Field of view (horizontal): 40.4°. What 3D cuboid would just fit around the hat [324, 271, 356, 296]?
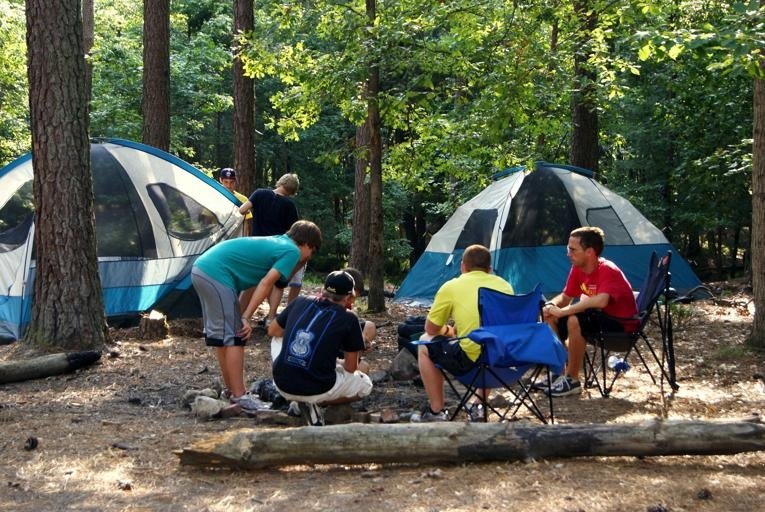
[{"bbox_3d":[-0.556,0.355,13.490,0.379,0.320,0.230,1,3,-2],"label":"hat"}]

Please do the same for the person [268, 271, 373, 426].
[{"bbox_3d":[-0.775,1.212,13.856,1.607,1.965,1.150,12,2,8],"label":"person"}]

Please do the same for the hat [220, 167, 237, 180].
[{"bbox_3d":[-2.716,-1.448,18.365,0.286,0.198,0.379,1,2,-19],"label":"hat"}]

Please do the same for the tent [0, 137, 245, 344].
[{"bbox_3d":[-4.270,-0.374,17.496,3.661,2.246,3.511,-2,3,-4],"label":"tent"}]

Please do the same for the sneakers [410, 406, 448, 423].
[{"bbox_3d":[0.630,2.084,13.660,0.521,0.205,0.185,2,-9,6],"label":"sneakers"}]

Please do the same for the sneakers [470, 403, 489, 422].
[{"bbox_3d":[1.280,2.092,13.772,0.270,0.249,0.263,-1,-1,-13],"label":"sneakers"}]

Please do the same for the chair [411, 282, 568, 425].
[{"bbox_3d":[1.597,1.301,13.974,2.111,1.809,1.794,5,-9,-31],"label":"chair"}]
